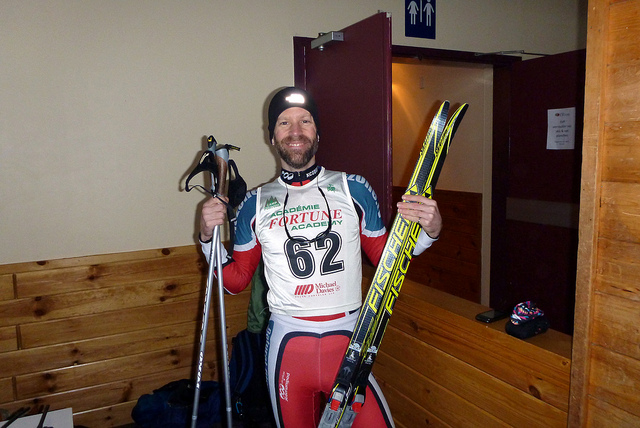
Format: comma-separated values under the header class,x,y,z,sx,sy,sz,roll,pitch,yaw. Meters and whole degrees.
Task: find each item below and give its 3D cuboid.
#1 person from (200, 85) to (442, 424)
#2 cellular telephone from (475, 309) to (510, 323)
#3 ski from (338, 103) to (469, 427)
class,x,y,z,sx,sy,sz,roll,pitch,yaw
person,-0.082,0.203,2.595,0.758,1.748,0.632,8,16,35
cellular telephone,0.958,0.577,2.629,0.096,0.019,0.169,9,20,42
ski,0.546,0.346,2.994,0.223,2.706,0.197,23,-7,-6
